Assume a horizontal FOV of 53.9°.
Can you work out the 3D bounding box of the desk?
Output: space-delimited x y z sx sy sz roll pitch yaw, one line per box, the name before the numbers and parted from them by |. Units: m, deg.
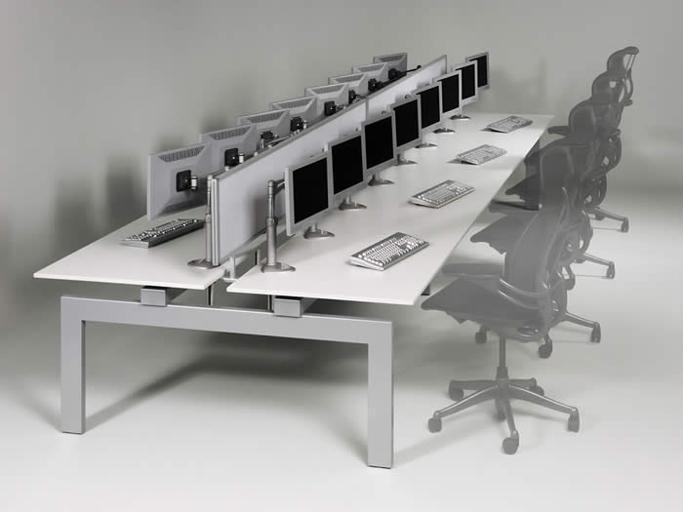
desk | 0.076 0.113 5.006 2.109 1.813 3.633 6 10 34
